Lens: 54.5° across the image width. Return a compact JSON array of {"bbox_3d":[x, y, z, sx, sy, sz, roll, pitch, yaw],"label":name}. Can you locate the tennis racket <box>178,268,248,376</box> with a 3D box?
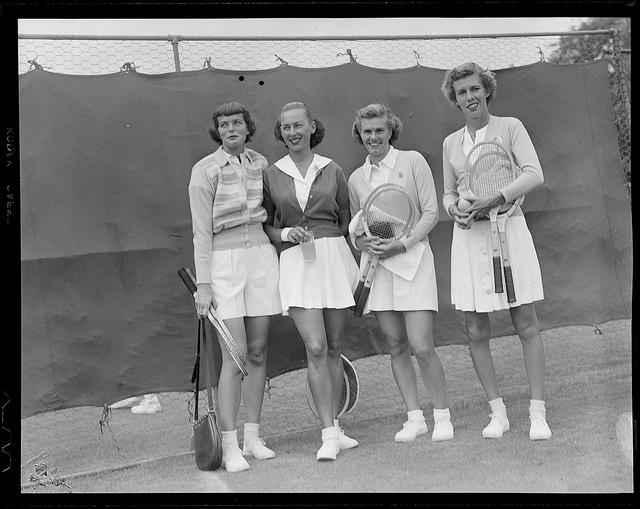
[{"bbox_3d":[-0.736,0.492,4.378,0.086,0.906,0.150,-26,-3,-9],"label":"tennis racket"}]

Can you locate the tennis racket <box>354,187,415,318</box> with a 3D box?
[{"bbox_3d":[0.415,0.004,4.416,0.354,1.082,0.117,10,31,-8],"label":"tennis racket"}]

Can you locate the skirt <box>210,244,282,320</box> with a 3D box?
[{"bbox_3d":[-0.526,0.160,4.303,0.466,0.540,0.289,2,9,-29],"label":"skirt"}]

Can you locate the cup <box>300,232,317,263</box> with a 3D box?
[{"bbox_3d":[-0.063,-0.049,4.239,0.121,0.205,0.097,-6,5,-27],"label":"cup"}]

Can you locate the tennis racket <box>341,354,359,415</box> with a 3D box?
[{"bbox_3d":[0.239,0.987,4.748,0.073,0.380,0.258,0,-5,-33],"label":"tennis racket"}]

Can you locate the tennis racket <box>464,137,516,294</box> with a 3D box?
[{"bbox_3d":[1.281,-0.263,4.468,0.384,1.413,0.069,-28,35,-4],"label":"tennis racket"}]

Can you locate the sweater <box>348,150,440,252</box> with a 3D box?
[{"bbox_3d":[0.493,-0.375,4.465,0.686,0.843,0.435,-7,-9,23],"label":"sweater"}]

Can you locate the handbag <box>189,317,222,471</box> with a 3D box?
[{"bbox_3d":[-0.744,0.899,4.041,0.086,0.980,0.301,1,-9,-38],"label":"handbag"}]

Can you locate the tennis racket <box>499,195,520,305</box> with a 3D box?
[{"bbox_3d":[1.280,-0.024,4.172,0.125,0.700,0.233,-2,5,23],"label":"tennis racket"}]
